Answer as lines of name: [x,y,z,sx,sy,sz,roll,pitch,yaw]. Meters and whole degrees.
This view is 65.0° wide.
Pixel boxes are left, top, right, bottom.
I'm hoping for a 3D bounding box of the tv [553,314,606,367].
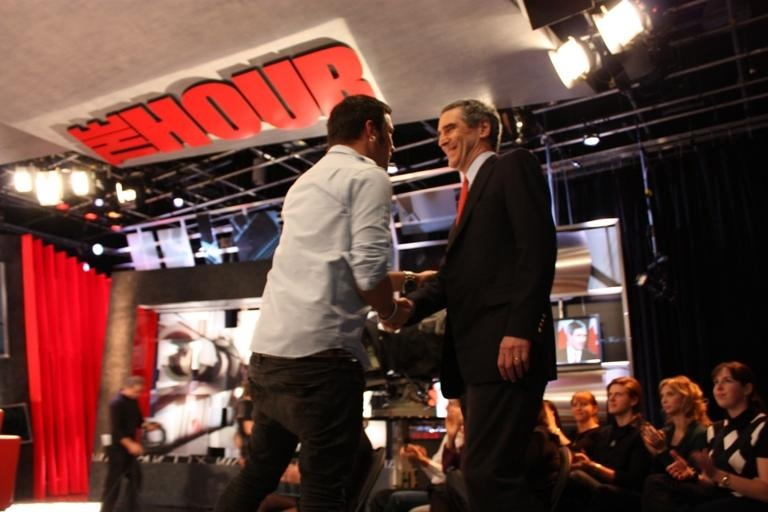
tv: [2.215,0.956,6.873,0.078,0.544,0.631,12,-15,-33]
